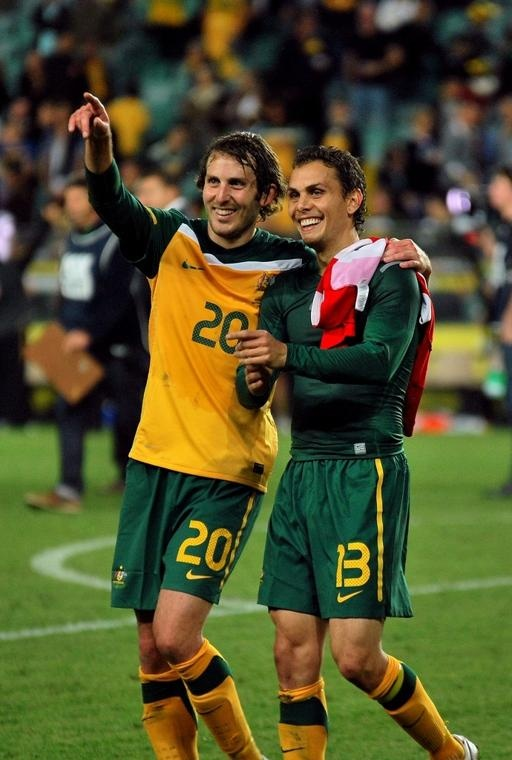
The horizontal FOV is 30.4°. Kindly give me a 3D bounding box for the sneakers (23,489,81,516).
[{"bbox_3d":[-1.499,0.905,7.010,0.480,0.173,0.157,7,-11,-4],"label":"sneakers"}]
